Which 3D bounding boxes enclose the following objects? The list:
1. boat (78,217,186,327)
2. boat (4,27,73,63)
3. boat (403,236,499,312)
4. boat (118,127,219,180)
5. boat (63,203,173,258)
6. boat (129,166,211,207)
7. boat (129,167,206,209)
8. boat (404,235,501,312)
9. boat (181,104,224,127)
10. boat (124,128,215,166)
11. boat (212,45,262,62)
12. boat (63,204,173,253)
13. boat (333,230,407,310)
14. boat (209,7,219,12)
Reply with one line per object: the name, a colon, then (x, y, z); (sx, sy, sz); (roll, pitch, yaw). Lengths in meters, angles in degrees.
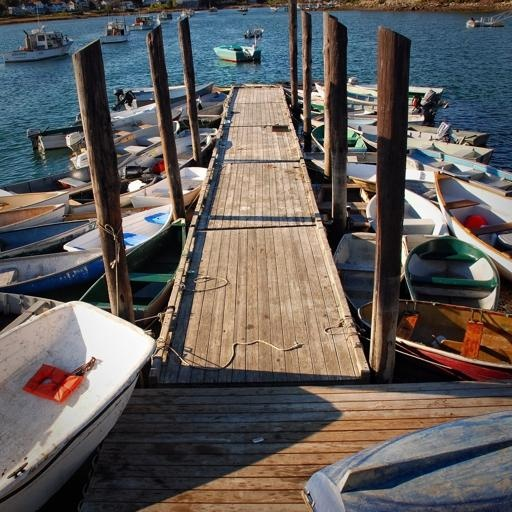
boat: (-1.828, 0.197, 9.223); (1.128, 0.514, 3.285); (4, 27, 8)
boat: (-19.021, -18.159, 45.841); (5.329, 2.660, 4.260); (-8, 24, -11)
boat: (3.117, 0.439, 8.393); (1.457, 0.455, 1.885); (4, 34, 5)
boat: (-2.584, -3.086, 15.880); (1.297, 0.541, 3.578); (15, 35, 28)
boat: (-2.549, -0.536, 10.693); (1.059, 0.378, 1.856); (19, 37, 34)
boat: (-2.102, -1.591, 13.125); (1.199, 0.401, 1.770); (-1, 32, 16)
boat: (-2.097, -1.596, 13.127); (1.222, 0.397, 1.781); (-1, 32, 15)
boat: (3.133, 0.475, 8.382); (1.402, 0.457, 1.869); (4, 36, 5)
boat: (-2.039, -5.298, 20.079); (1.666, 0.732, 1.843); (-5, 23, -4)
boat: (-2.441, -3.313, 16.258); (1.145, 0.446, 2.880); (16, 35, 23)
boat: (-1.641, -16.149, 43.045); (2.284, 0.920, 3.817); (-25, 36, -32)
boat: (-2.550, -0.544, 10.713); (1.057, 0.372, 1.803); (18, 36, 34)
boat: (1.781, 0.278, 8.711); (1.224, 0.492, 2.245); (13, 27, 7)
boat: (-10.032, -56.909, 123.141); (2.470, 0.995, 2.975); (-1, 24, -1)
